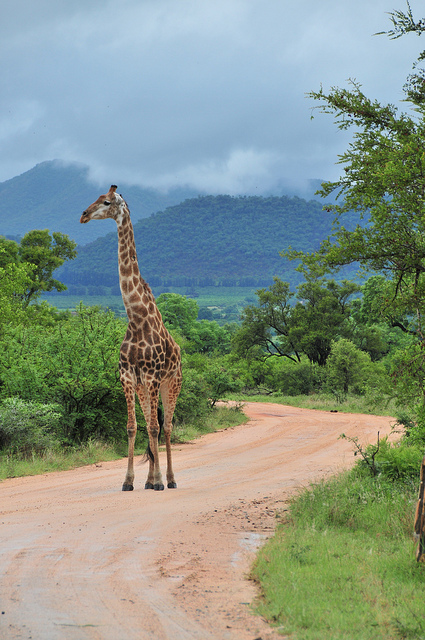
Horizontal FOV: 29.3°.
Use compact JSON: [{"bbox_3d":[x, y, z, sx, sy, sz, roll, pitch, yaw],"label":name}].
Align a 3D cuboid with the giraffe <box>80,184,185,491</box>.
[{"bbox_3d":[-1.189,0.272,13.250,1.258,4.835,1.838,0,-1,13],"label":"giraffe"}]
